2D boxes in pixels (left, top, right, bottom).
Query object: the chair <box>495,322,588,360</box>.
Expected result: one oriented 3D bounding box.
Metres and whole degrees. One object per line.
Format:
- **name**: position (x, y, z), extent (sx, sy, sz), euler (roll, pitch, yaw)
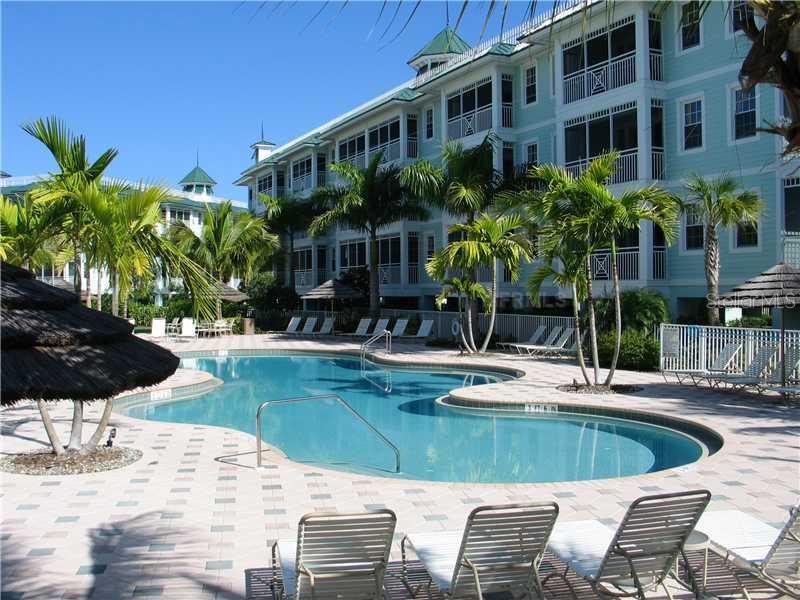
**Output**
- **chair**: position (4.866, 1.317, 21.723), extent (1.530, 1.024, 3.670), euler (-1, 1, -10)
